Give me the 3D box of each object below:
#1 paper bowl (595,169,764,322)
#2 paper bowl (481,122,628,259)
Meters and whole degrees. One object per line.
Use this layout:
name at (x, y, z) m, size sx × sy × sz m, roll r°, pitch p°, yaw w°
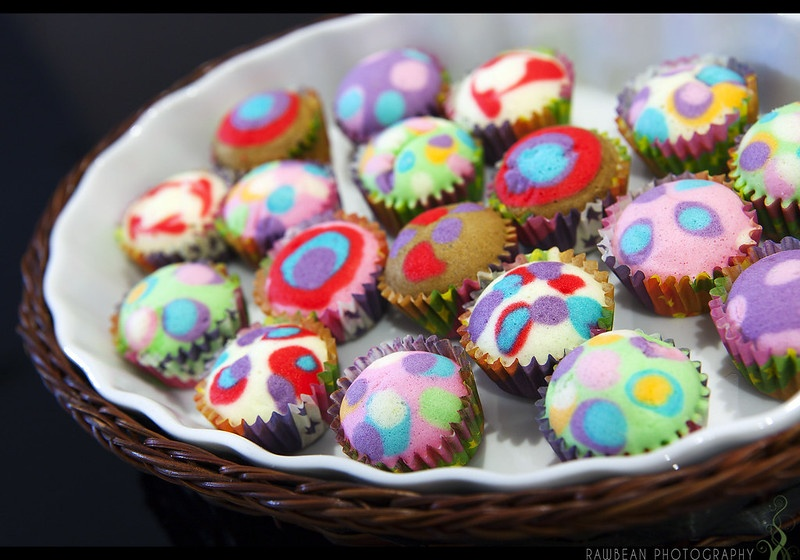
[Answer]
paper bowl at (0.691, -0.023, 1.833) m, size 0.313 × 0.189 × 0.301 m, roll -10°, pitch 16°, yaw 3°
paper bowl at (0.415, -0.259, 2.028) m, size 0.327 × 0.208 × 0.318 m, roll -21°, pitch 39°, yaw 19°
